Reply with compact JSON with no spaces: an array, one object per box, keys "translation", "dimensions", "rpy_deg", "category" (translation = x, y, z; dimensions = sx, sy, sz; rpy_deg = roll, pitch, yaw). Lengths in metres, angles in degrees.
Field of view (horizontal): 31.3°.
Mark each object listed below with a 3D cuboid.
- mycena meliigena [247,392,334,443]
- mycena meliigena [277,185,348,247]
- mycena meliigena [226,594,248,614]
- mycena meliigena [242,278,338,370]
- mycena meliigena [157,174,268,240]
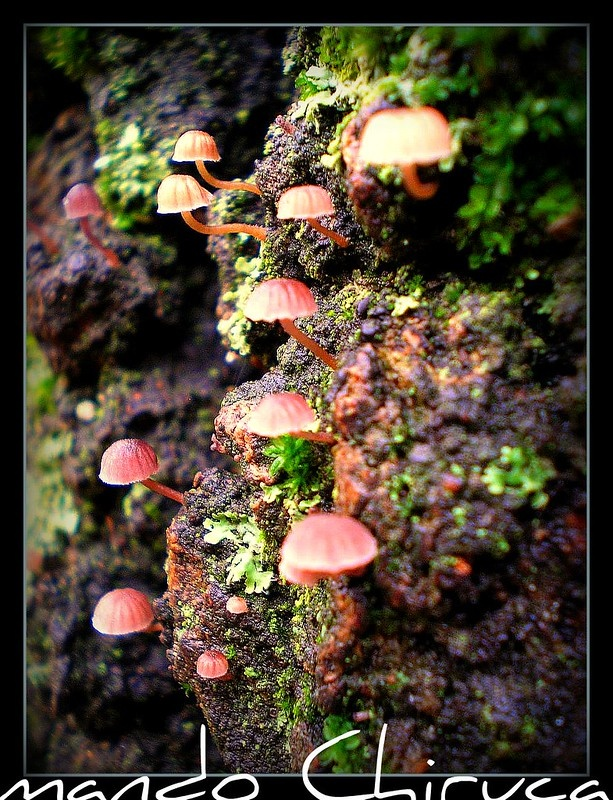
[{"translation":[-0.027,0.090,4.517],"dimensions":[0.183,0.246,0.212],"rpy_deg":[-39,24,-26],"category":"mycena meliigena"},{"translation":[0.027,-0.790,4.775],"dimensions":[0.252,0.308,0.242],"rpy_deg":[12,43,39],"category":"mycena meliigena"},{"translation":[-0.314,0.962,5.088],"dimensions":[0.097,0.076,0.083],"rpy_deg":[7,37,32],"category":"mycena meliigena"},{"translation":[-0.084,-0.319,4.484],"dimensions":[0.298,0.248,0.370],"rpy_deg":[-17,72,24],"category":"mycena meliigena"},{"translation":[-0.415,-0.861,4.988],"dimensions":[0.540,0.218,0.237],"rpy_deg":[13,14,-12],"category":"mycena meliigena"}]
